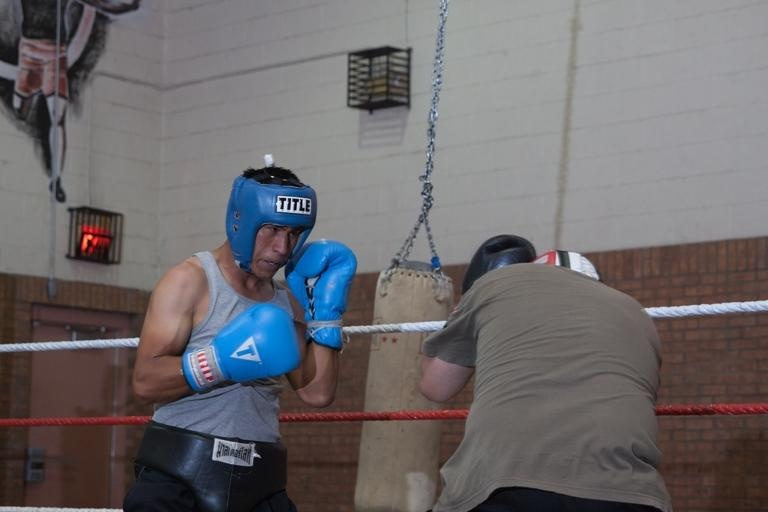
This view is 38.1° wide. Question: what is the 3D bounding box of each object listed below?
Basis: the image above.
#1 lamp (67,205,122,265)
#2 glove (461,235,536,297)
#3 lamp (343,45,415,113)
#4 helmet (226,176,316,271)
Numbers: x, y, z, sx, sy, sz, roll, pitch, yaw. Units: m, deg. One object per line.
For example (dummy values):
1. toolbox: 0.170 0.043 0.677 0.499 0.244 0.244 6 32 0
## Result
1. lamp: -2.585 -0.189 9.913 0.467 0.430 0.166 16 -17 -43
2. glove: 0.574 0.031 5.692 0.257 0.372 0.135 24 4 24
3. lamp: -0.009 -1.532 9.526 0.562 0.523 0.300 -4 -10 33
4. helmet: -0.596 -0.160 6.068 0.410 0.517 0.528 7 -11 -38
